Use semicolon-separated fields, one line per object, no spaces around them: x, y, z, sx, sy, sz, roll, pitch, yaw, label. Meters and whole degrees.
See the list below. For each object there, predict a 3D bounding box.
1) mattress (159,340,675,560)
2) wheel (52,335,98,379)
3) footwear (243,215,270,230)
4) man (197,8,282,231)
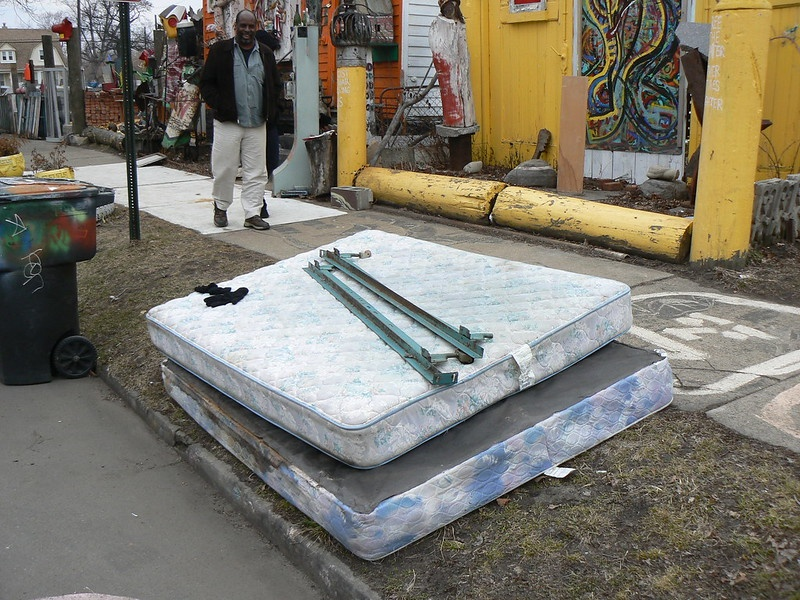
0.329;0.688;2.922;1.299;0.215;1.281;-22;21;-30;mattress
-2.448;0.426;4.629;0.120;0.344;0.316;5;4;17;wheel
-1.820;-0.979;7.845;0.373;0.139;0.149;16;27;42;footwear
-1.944;-2.193;7.702;0.876;2.502;0.662;2;16;-8;man
